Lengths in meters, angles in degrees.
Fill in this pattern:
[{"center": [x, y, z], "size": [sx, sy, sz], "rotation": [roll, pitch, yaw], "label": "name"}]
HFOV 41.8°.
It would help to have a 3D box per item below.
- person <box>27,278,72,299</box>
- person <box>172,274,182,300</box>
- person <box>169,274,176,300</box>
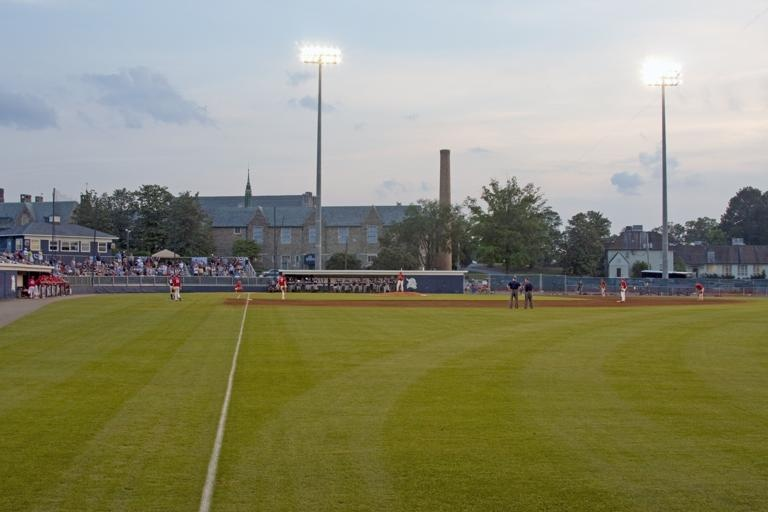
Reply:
[{"center": [-20.033, 1.935, 59.893], "size": [0.920, 1.150, 3.213], "rotation": [-3, -5, 10], "label": "person"}, {"center": [-11.945, 1.814, 57.896], "size": [0.530, 1.567, 0.425], "rotation": [2, 2, -18], "label": "person"}, {"center": [-12.254, 1.830, 58.171], "size": [0.556, 1.480, 0.639], "rotation": [4, -10, -11], "label": "person"}]
